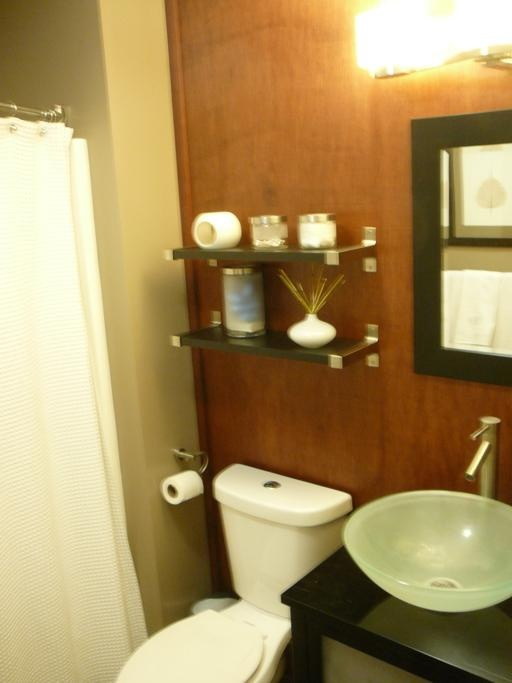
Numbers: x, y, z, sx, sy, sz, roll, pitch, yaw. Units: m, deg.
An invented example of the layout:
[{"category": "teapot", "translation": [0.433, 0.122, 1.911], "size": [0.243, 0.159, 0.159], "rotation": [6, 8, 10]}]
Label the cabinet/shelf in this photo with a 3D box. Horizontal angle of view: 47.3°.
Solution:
[{"category": "cabinet/shelf", "translation": [0.011, -0.128, 1.478], "size": [0.582, 0.295, 0.242], "rotation": [6, 14, 38]}]

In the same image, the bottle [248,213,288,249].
[{"category": "bottle", "translation": [0.033, -0.259, 1.386], "size": [0.077, 0.062, 0.079], "rotation": [-2, 8, 0]}]

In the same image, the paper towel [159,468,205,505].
[{"category": "paper towel", "translation": [-0.216, 0.399, 1.760], "size": [0.092, 0.118, 0.126], "rotation": [14, 9, 40]}]

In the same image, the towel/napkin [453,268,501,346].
[{"category": "towel/napkin", "translation": [0.462, -0.076, 1.201], "size": [0.025, 0.188, 0.112], "rotation": [-20, 26, -37]}]

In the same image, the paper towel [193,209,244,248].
[{"category": "paper towel", "translation": [-0.095, -0.279, 1.469], "size": [0.093, 0.102, 0.119], "rotation": [4, 11, 20]}]

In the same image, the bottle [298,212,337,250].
[{"category": "bottle", "translation": [0.138, -0.255, 1.352], "size": [0.079, 0.072, 0.079], "rotation": [-13, 16, -39]}]
